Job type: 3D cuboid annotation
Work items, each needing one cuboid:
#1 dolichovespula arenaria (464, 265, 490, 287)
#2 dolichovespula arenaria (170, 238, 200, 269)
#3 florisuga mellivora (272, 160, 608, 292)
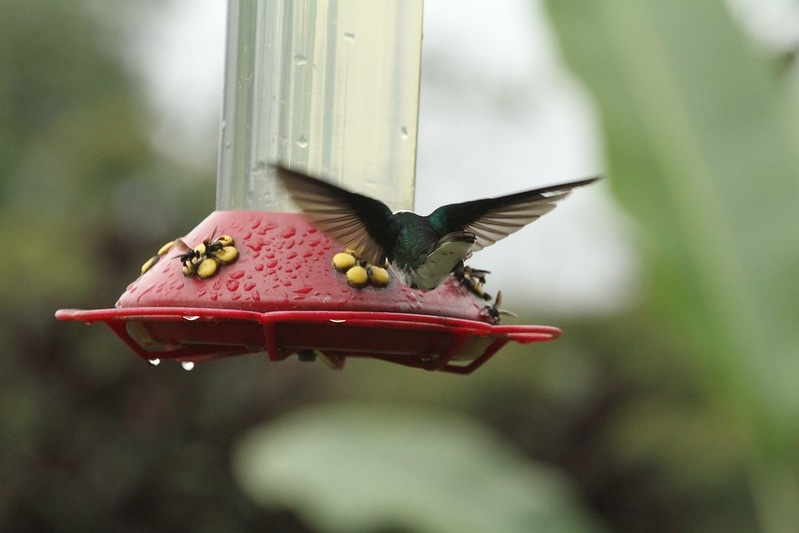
[{"bbox_3d":[0.287,0.035,3.627,0.078,0.027,0.080,17,17,7],"label":"dolichovespula arenaria"},{"bbox_3d":[-0.750,-0.041,3.416,0.084,0.126,0.059,3,2,-16],"label":"dolichovespula arenaria"},{"bbox_3d":[0.015,-0.139,3.357,0.651,0.656,0.263,0,65,-7],"label":"florisuga mellivora"}]
